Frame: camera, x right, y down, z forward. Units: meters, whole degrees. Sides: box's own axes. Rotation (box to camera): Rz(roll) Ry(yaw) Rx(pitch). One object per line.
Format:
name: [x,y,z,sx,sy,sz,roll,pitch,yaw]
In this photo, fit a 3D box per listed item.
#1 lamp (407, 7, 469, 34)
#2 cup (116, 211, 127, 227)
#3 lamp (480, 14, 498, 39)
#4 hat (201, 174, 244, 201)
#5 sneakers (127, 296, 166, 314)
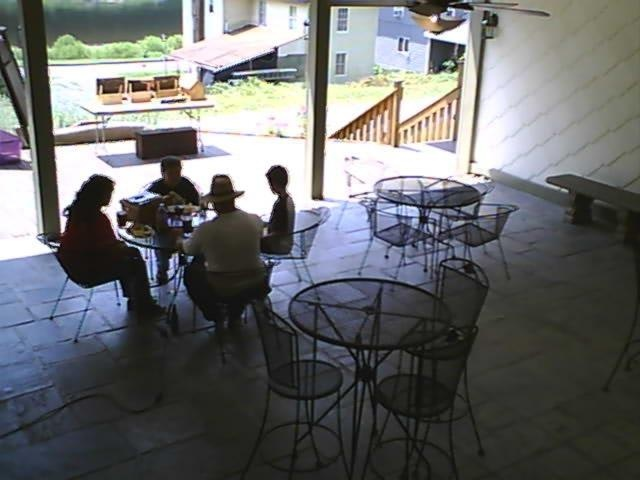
lamp: [1.024,-1.893,4.547,0.376,0.215,0.651,17,29,31]
cup: [-1.904,-0.206,5.086,0.105,0.115,0.104,7,30,-4]
lamp: [2.890,-3.653,8.990,0.279,0.484,0.344,-2,19,-8]
hat: [-0.856,-0.432,4.600,0.268,0.121,0.280,-18,12,-8]
sneakers: [-1.714,0.666,5.424,0.463,0.184,0.151,0,22,-12]
